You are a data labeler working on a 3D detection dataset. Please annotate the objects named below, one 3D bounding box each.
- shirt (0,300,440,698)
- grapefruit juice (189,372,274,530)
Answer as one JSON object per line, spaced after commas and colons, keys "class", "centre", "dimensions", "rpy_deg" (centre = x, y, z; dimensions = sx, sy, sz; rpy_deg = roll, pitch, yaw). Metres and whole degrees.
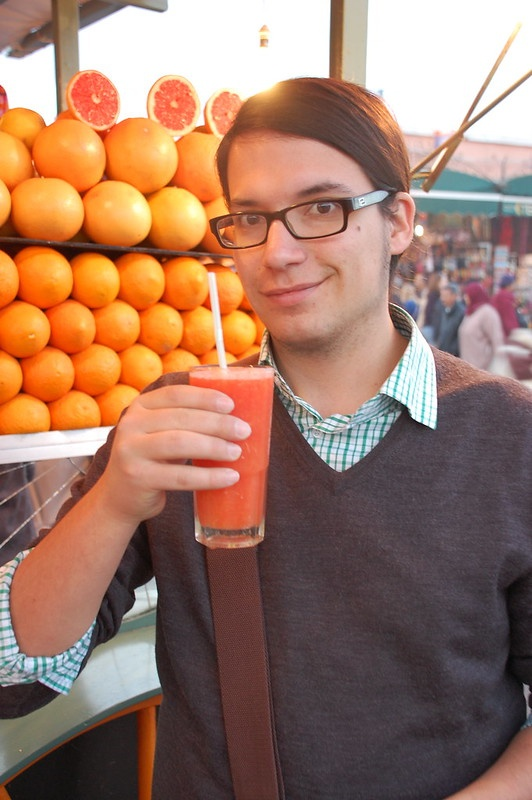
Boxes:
{"class": "shirt", "centre": [-0.100, 0.202, 1.220], "dimensions": [0.242, 0.222, 1.087], "rpy_deg": [8, 19, 45]}
{"class": "grapefruit juice", "centre": [-0.049, 0.067, 0.911], "dimensions": [0.115, 0.236, 0.086], "rpy_deg": [-1, 16, -1]}
